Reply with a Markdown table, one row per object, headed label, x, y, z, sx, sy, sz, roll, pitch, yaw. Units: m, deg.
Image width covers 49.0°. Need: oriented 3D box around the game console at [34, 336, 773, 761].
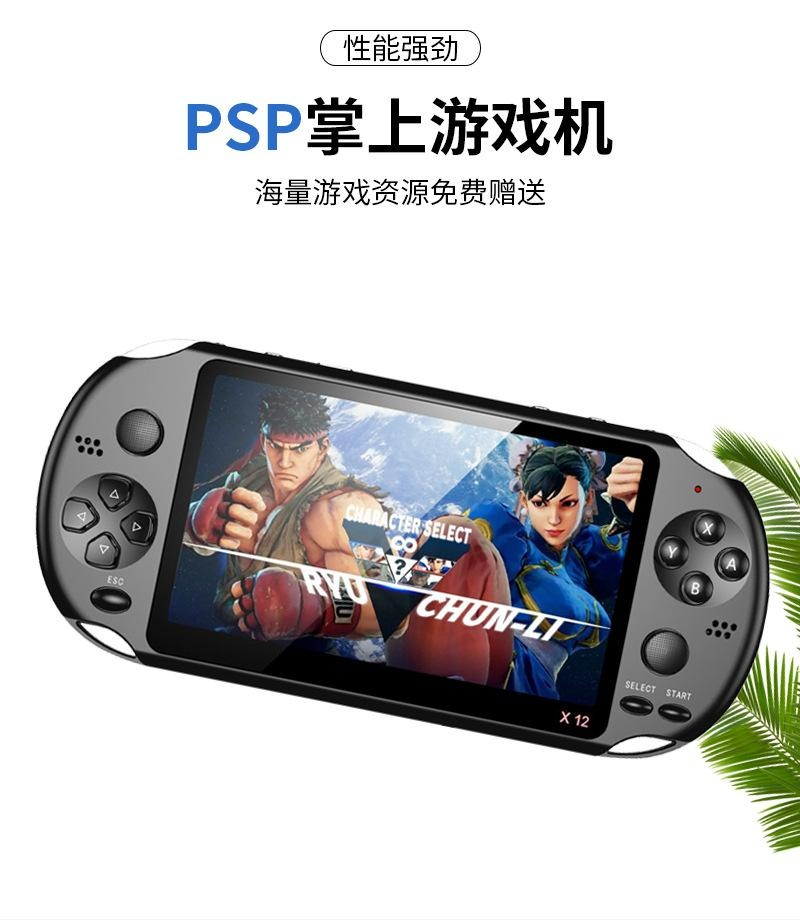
| label | x | y | z | sx | sy | sz | roll | pitch | yaw |
| --- | --- | --- | --- | --- | --- | --- | --- | --- | --- |
| game console | 0.011 | 0.322 | 3.546 | 2.858 | 1.127 | 0.381 | 10 | -6 | 5 |
